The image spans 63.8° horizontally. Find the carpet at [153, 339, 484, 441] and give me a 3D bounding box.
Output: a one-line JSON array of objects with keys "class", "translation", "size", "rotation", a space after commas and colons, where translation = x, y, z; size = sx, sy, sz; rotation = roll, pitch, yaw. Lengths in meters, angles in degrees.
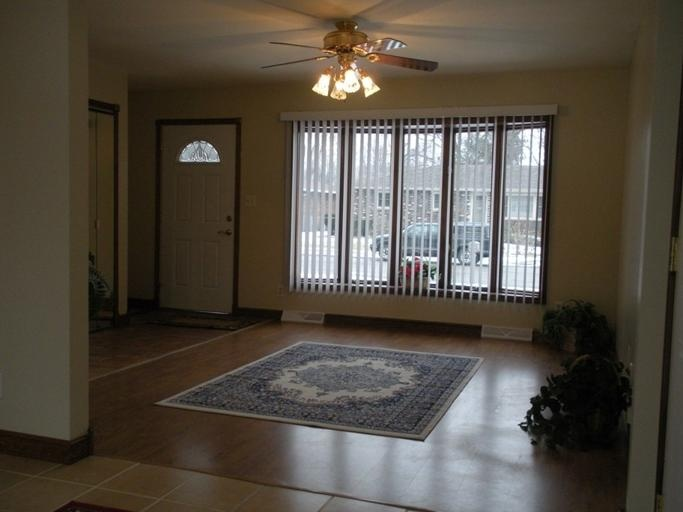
[{"class": "carpet", "translation": [-0.027, 0.951, 4.221], "size": [1.990, 0.022, 1.733], "rotation": [3, 6, 16]}]

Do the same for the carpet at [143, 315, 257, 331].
[{"class": "carpet", "translation": [-1.572, 0.741, 6.242], "size": [1.203, 0.026, 0.687], "rotation": [2, 6, 9]}]

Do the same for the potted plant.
[{"class": "potted plant", "translation": [2.281, 0.694, 5.267], "size": [0.689, 0.456, 0.704], "rotation": [3, 6, 21]}]

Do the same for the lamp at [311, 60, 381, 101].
[{"class": "lamp", "translation": [0.057, -1.572, 4.879], "size": [0.570, 0.256, 0.648], "rotation": [-2, 7, -27]}]
